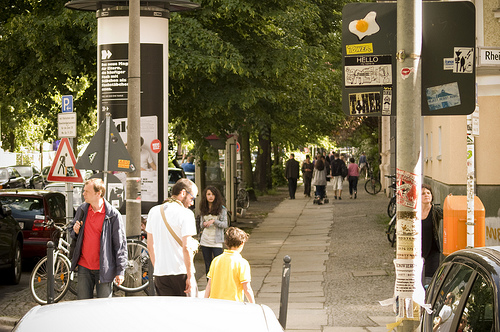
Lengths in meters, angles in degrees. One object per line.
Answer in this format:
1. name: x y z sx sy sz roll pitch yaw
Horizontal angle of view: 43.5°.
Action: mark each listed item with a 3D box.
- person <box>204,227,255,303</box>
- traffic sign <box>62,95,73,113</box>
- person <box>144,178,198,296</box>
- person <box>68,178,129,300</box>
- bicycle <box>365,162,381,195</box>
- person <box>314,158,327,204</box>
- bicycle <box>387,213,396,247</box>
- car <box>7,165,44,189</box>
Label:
1. person: -0.278 1.342 8.204 0.642 1.001 0.580 -1 3 -4
2. traffic sign: -4.002 -1.333 13.745 0.211 0.392 0.621 -2 3 -19
3. person: -1.123 1.068 8.954 0.695 1.630 0.680 -2 3 -11
4. person: -2.269 1.398 9.169 0.877 2.306 0.673 3 10 -2
5. bicycle: 6.480 0.863 33.120 1.099 1.573 2.382 -3 -3 11
6. person: 2.982 0.626 26.902 0.606 2.098 1.386 -1 3 7
7. bicycle: 3.577 1.642 15.900 0.207 0.808 1.004 -1 3 11
8. car: -13.286 0.726 36.941 1.092 0.978 1.983 0 -6 6
